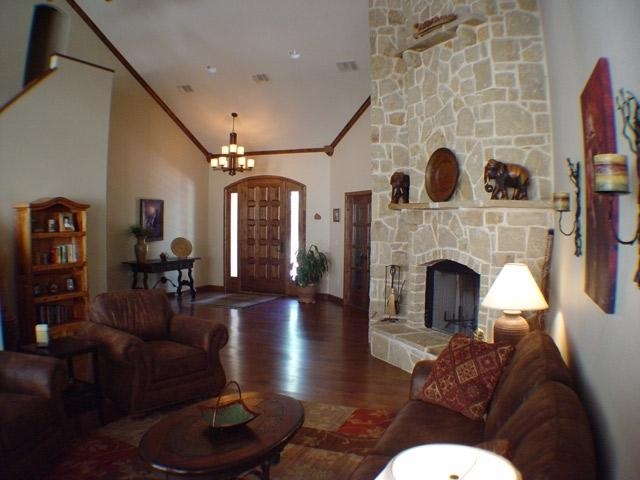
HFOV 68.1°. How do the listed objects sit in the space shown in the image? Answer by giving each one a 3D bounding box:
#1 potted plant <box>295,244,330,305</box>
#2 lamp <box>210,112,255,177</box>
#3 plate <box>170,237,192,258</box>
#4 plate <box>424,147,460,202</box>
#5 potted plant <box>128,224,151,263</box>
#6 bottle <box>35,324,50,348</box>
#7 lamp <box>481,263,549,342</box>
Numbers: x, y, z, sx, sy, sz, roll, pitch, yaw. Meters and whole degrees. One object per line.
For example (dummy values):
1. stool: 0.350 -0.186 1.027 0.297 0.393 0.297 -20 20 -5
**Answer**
1. potted plant: -0.125 0.630 8.733 0.457 1.012 0.637 2 5 27
2. lamp: -1.484 -1.688 8.192 0.586 0.954 0.600 -1 5 -27
3. plate: -2.613 0.154 8.851 0.357 0.363 0.502 1 5 11
4. plate: 1.295 -0.693 5.054 0.095 0.565 0.447 -2 5 -29
5. potted plant: -3.021 0.058 7.887 0.228 0.598 0.430 -4 6 -42
6. bottle: -2.207 0.749 3.792 0.088 0.177 0.226 -3 5 -30
7. lamp: 1.510 0.517 3.706 0.455 0.656 0.401 2 5 23
